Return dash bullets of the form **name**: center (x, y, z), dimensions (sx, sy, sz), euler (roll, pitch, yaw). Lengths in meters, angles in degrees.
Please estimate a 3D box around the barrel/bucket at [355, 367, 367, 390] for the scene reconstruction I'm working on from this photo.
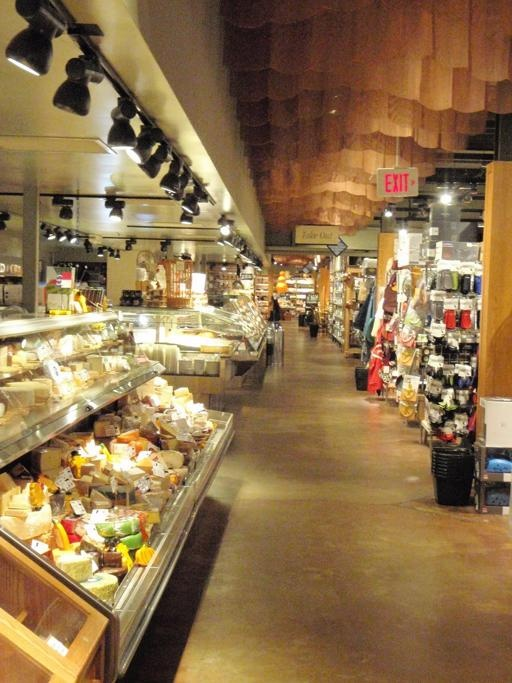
- **barrel/bucket**: center (2.016, 0.710, 9.996), dimensions (0.351, 0.466, 0.400), euler (2, 0, 7)

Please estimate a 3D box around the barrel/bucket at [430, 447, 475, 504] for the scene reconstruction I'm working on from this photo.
- **barrel/bucket**: center (1.644, 1.129, 4.334), dimensions (0.398, 0.397, 0.233), euler (2, 2, -24)

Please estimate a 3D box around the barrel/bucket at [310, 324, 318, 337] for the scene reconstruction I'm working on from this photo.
- **barrel/bucket**: center (2.693, -0.512, 24.006), dimensions (0.520, 0.598, 0.516), euler (-1, 4, 0)
